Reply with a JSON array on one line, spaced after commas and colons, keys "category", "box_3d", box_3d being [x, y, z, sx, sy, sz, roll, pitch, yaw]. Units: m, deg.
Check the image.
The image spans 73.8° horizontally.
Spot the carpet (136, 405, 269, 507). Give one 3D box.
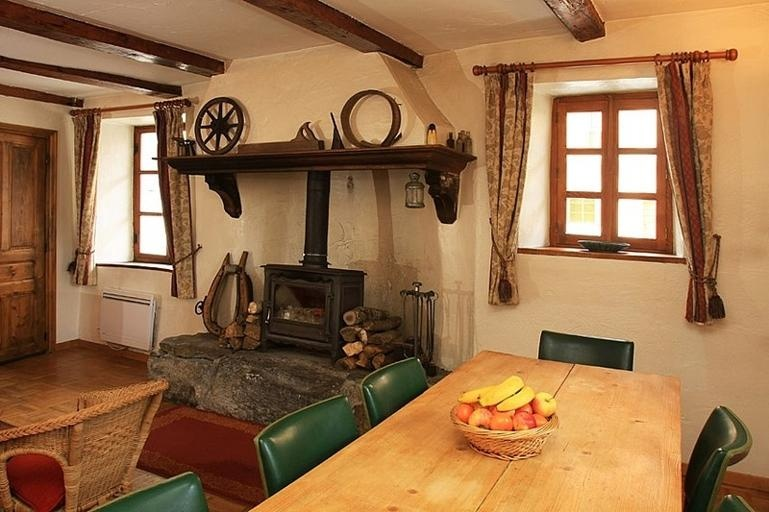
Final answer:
[{"category": "carpet", "box_3d": [-1.472, 1.583, 4.259, 1.107, 0.020, 0.735, 8, 16, 25]}]

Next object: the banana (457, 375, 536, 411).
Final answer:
[{"category": "banana", "box_3d": [0.529, 0.652, 2.397, 0.307, 0.075, 0.158, -11, 22, -6]}]

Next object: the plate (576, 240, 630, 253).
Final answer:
[{"category": "plate", "box_3d": [1.885, -0.093, 4.402, 0.377, 0.104, 0.318, 4, 13, 20]}]

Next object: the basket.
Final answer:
[{"category": "basket", "box_3d": [0.561, 0.817, 2.397, 0.493, 0.184, 0.221, 0, 13, 5]}]

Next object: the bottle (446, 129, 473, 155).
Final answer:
[{"category": "bottle", "box_3d": [0.656, -1.012, 4.506, 0.239, 0.216, 0.227, 2, 13, 13]}]

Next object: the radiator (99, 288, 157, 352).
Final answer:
[{"category": "radiator", "box_3d": [-3.201, 0.763, 6.367, 0.924, 0.655, 0.157, 6, 2, 23]}]
